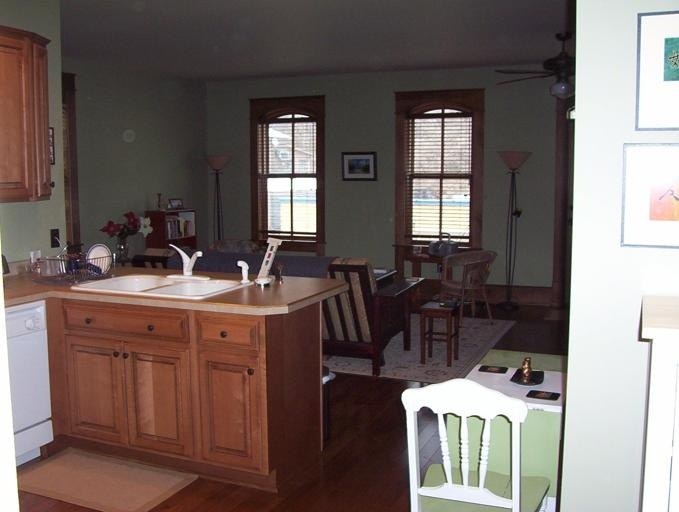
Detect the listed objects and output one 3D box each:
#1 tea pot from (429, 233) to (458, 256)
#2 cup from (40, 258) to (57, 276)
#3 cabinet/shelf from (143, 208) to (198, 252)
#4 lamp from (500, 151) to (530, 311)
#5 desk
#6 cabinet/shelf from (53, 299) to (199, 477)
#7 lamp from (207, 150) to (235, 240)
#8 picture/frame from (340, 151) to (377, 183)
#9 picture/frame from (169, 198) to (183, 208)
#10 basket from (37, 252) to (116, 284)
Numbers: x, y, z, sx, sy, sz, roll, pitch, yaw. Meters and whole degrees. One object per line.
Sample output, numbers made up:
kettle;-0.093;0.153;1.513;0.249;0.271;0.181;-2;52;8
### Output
tea pot;1.524;-0.172;8.076;0.369;0.235;0.950;2;8;17
cup;-2.071;0.081;4.047;0.134;0.119;0.117;1;3;33
cabinet/shelf;-2.469;-0.388;8.071;0.264;0.646;0.755;1;5;14
lamp;2.468;-0.402;8.040;0.401;2.206;0.479;3;9;19
desk;1.160;0.234;7.638;0.819;0.750;0.278;5;14;26
cabinet/shelf;-1.311;0.809;3.527;1.117;0.955;0.468;0;1;22
lamp;-2.038;-0.997;9.534;0.352;1.461;0.643;-2;9;-12
picture/frame;0.327;-1.416;8.812;0.531;0.432;0.039;1;10;16
picture/frame;-2.555;-0.828;8.704;0.066;0.124;0.180;0;1;33
basket;-1.913;0.088;3.982;0.350;0.116;0.253;1;3;27
